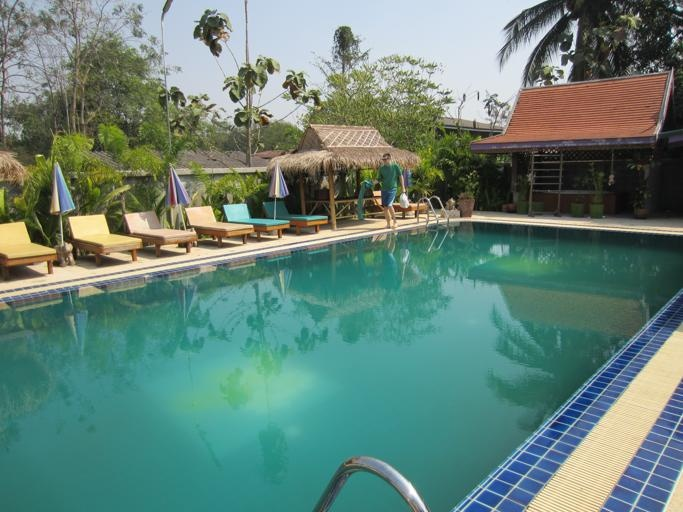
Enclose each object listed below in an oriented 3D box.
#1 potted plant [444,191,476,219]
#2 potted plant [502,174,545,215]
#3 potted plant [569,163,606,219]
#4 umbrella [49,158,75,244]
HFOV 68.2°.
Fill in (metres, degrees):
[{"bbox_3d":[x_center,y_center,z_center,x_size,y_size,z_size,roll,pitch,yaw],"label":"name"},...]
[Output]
[{"bbox_3d":[4.126,-1.789,17.739,0.896,0.822,0.921,-1,11,11],"label":"potted plant"},{"bbox_3d":[6.561,-2.193,18.271,1.207,1.645,1.324,1,4,16],"label":"potted plant"},{"bbox_3d":[8.434,-2.329,17.255,1.002,1.737,2.328,3,12,28],"label":"potted plant"},{"bbox_3d":[-6.137,-1.207,11.124,0.501,1.785,1.714,-8,12,-29],"label":"umbrella"}]
